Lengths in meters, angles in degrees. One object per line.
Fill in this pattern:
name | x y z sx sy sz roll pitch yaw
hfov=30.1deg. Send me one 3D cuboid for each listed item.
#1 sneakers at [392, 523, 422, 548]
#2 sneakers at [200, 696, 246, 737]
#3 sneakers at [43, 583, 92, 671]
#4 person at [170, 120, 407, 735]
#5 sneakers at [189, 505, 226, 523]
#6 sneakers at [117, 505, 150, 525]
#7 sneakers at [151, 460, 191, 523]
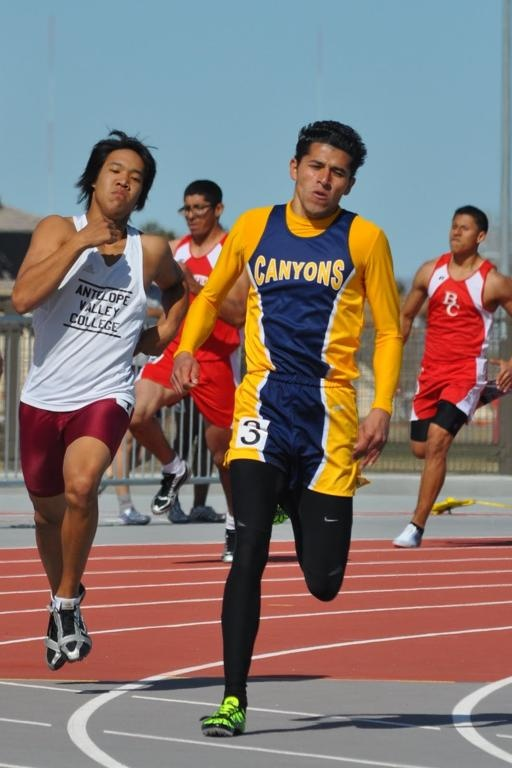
sneakers | 1.231 1.232 7.680 0.131 0.133 0.316 3 -4 24
sneakers | -0.084 0.902 2.583 0.069 0.076 0.171 2 -10 16
sneakers | -0.649 0.839 3.269 0.121 0.125 0.302 -11 36 -2
person | 0.142 0.039 2.987 0.753 1.809 0.872 6 6 -18
sneakers | -0.505 1.285 9.467 0.407 0.153 0.150 1 0 6
sneakers | -1.224 1.306 9.564 0.403 0.245 0.133 -2 1 -6
sneakers | -0.645 0.793 7.262 0.192 0.527 0.236 24 -9 15
